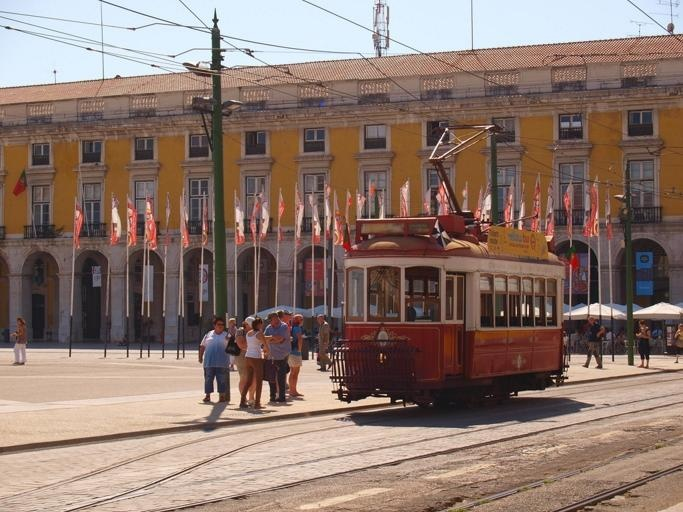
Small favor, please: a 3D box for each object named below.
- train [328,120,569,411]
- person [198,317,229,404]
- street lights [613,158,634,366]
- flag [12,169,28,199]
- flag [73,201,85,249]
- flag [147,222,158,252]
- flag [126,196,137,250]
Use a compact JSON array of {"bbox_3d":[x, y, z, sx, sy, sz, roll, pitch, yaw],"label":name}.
[{"bbox_3d":[4.021,0.092,46.443,4.248,9.315,11.187,1,0,34],"label":"train"},{"bbox_3d":[-3.414,2.827,37.968,0.884,2.290,0.903,0,-2,-15],"label":"person"},{"bbox_3d":[12.663,0.282,62.458,0.953,9.299,0.612,-3,2,41],"label":"street lights"},{"bbox_3d":[-17.258,-4.004,75.156,0.685,1.526,3.876,-3,-1,-12],"label":"flag"},{"bbox_3d":[-12.015,-1.427,63.795,0.410,2.140,4.133,-3,-1,-11],"label":"flag"},{"bbox_3d":[-8.292,-0.956,61.038,0.395,1.271,1.292,-3,0,-2],"label":"flag"},{"bbox_3d":[-9.108,-1.462,60.718,0.377,2.106,1.584,-3,0,-10],"label":"flag"}]
